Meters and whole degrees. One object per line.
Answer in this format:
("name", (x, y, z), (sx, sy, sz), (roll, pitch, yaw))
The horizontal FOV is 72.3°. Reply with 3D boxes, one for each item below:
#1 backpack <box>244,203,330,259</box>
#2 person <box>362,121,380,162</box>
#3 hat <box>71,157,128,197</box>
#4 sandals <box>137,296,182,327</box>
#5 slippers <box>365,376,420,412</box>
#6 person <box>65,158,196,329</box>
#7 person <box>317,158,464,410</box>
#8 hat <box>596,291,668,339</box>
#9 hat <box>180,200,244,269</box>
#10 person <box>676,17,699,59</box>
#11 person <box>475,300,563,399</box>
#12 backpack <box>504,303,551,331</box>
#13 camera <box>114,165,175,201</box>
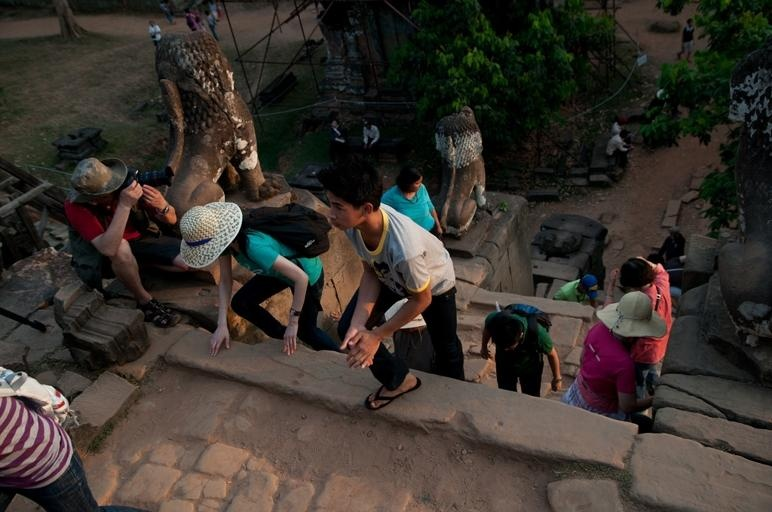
("backpack", (-0.812, -0.252, 4.331), (0.641, 0.278, 0.404), (10, 52, -11))
("person", (-0.363, -2.796, 13.006), (0.400, 0.988, 0.266), (-5, 33, 5))
("hat", (-2.461, -0.656, 4.513), (0.418, 0.157, 0.359), (-3, 65, 3))
("sandals", (-2.082, 0.551, 4.935), (0.407, 0.186, 0.199), (23, 53, 0))
("slippers", (0.086, 1.098, 4.098), (0.489, 0.118, 0.175), (-26, 42, -9))
("person", (-2.345, -0.040, 4.832), (0.957, 1.136, 0.953), (28, 52, 10))
("person", (0.072, 0.241, 3.898), (0.971, 1.943, 0.825), (-9, 32, -3))
("hat", (1.857, 0.476, 3.961), (0.359, 0.171, 0.396), (-7, 24, -12))
("hat", (-1.370, -0.129, 4.200), (0.523, 0.448, 0.384), (-19, 34, -17))
("person", (8.189, -5.931, 14.312), (0.383, 1.043, 1.663), (11, 37, 27))
("person", (1.180, 0.903, 4.502), (0.622, 1.151, 0.357), (-10, 33, -4))
("backpack", (1.183, 0.531, 4.407), (0.243, 0.281, 0.292), (24, 74, 18))
("camera", (-2.246, -0.691, 4.902), (0.372, 0.163, 0.347), (-2, 19, -4))
